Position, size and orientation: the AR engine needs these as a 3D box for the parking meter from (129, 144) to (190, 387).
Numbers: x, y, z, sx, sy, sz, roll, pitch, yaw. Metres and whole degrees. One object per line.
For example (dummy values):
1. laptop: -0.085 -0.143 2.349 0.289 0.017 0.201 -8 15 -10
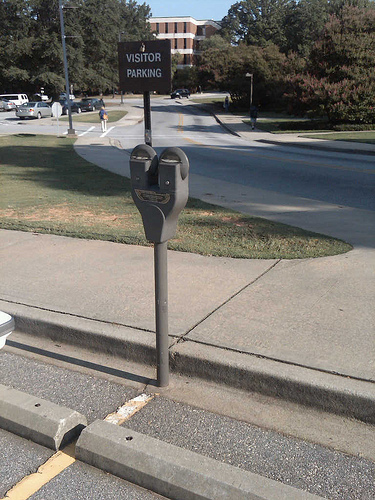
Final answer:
1. parking meter: -0.155 0.167 3.009 0.426 1.701 0.201 10 16 38

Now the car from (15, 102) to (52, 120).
1. car: -14.804 -13.586 43.279 1.345 1.693 3.586 4 13 19

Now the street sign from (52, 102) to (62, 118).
1. street sign: -7.584 -8.186 25.889 0.467 0.840 1.526 -4 13 -16

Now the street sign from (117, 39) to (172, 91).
1. street sign: -0.832 -3.642 8.810 1.236 0.960 0.086 7 20 20

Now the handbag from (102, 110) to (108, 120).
1. handbag: -5.775 -9.335 30.974 0.365 0.483 0.186 -8 13 -38

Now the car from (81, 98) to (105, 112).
1. car: -11.009 -16.840 51.672 2.552 1.600 4.448 -3 13 -12

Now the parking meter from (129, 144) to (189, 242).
1. parking meter: -0.168 -0.368 2.920 0.273 0.632 0.497 -12 17 -41

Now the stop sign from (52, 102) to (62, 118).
1. stop sign: -7.522 -8.148 25.718 0.455 0.840 1.153 -4 13 -17

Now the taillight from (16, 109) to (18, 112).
1. taillight: -16.081 -13.158 42.166 0.164 0.282 0.293 -7 26 -23
